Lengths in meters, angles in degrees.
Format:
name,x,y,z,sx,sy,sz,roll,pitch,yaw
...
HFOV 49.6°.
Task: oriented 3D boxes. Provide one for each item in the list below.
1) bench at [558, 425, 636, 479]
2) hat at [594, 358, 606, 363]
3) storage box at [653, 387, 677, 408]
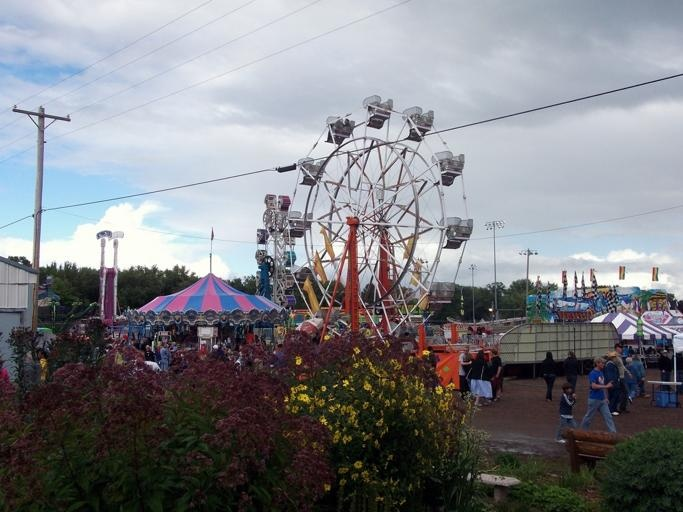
name,x,y,z,sx,sy,sz,roll,pitch,yaw
bench,3.782,2.857,10.668,0.566,0.667,0.962,6,-11,-31
hat,4.790,1.943,13.731,0.143,0.104,0.231,0,-2,24
storage box,8.686,3.772,19.712,0.743,0.603,0.514,2,-1,-35
